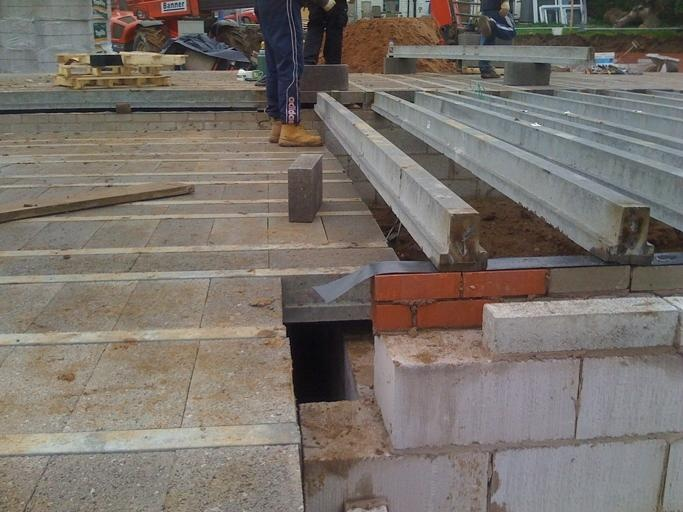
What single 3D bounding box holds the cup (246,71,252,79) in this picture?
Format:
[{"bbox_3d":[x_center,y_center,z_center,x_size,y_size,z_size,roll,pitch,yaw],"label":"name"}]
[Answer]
[{"bbox_3d":[-1.447,-2.822,8.379,0.147,0.095,0.119,-1,20,-11],"label":"cup"}]
